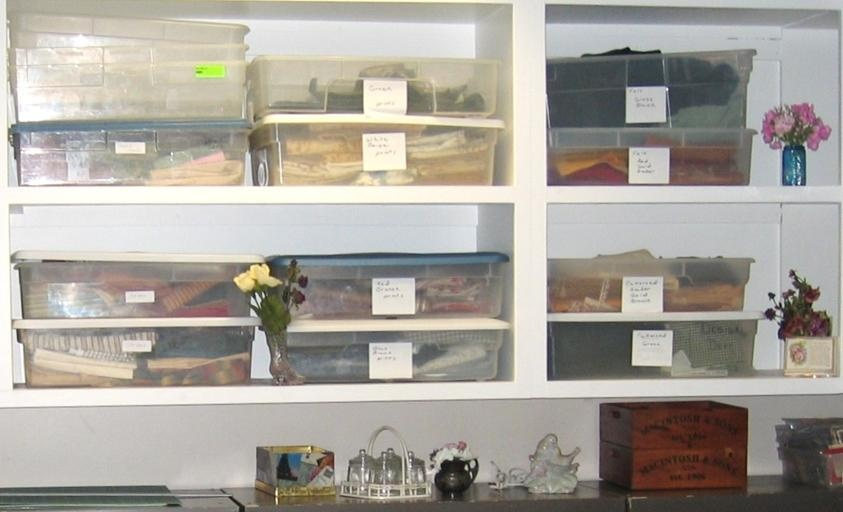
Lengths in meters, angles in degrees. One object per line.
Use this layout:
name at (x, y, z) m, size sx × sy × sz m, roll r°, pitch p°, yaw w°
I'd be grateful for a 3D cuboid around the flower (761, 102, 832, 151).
flower at (1.432, -0.490, 4.891) m, size 0.207 × 0.146 × 0.218 m, roll 4°, pitch -4°, yaw -30°

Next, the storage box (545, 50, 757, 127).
storage box at (0.835, -0.626, 4.781) m, size 0.581 × 0.170 × 0.365 m, roll 0°, pitch -3°, yaw -2°

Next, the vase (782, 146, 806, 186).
vase at (1.432, -0.347, 4.878) m, size 0.105 × 0.146 × 0.100 m, roll -3°, pitch 5°, yaw -18°

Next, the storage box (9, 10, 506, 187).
storage box at (-0.490, -0.573, 4.731) m, size 1.607 × 0.675 × 0.351 m, roll -2°, pitch 4°, yaw 3°

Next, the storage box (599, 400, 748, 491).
storage box at (0.965, 0.740, 4.966) m, size 0.551 × 0.260 × 0.409 m, roll 4°, pitch -5°, yaw -29°

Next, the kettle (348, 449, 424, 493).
kettle at (-0.121, 0.779, 4.715) m, size 0.199 × 0.111 × 0.193 m, roll 4°, pitch -6°, yaw -32°

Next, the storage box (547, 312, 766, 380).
storage box at (0.875, 0.336, 4.804) m, size 0.544 × 0.161 × 0.344 m, roll 0°, pitch -7°, yaw -3°

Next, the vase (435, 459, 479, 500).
vase at (0.108, 0.834, 4.829) m, size 0.188 × 0.130 × 0.138 m, roll 1°, pitch -4°, yaw 17°

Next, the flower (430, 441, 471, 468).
flower at (0.104, 0.751, 4.838) m, size 0.122 × 0.055 × 0.118 m, roll 0°, pitch -1°, yaw 2°
